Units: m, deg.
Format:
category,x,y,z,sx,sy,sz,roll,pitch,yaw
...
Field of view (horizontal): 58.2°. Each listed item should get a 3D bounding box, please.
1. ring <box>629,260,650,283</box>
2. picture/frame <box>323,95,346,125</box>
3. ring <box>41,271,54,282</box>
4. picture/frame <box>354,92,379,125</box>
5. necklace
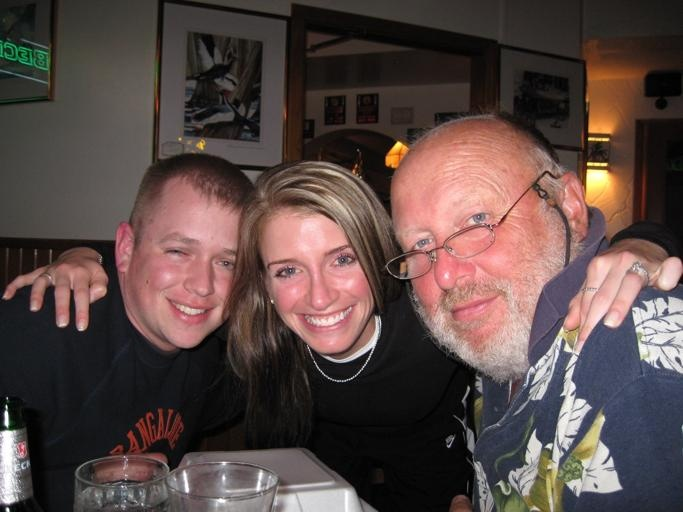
category,x,y,z,sx,sy,sz,roll,pitch,yaw
ring,0.939,0.047,1.935,0.032,0.073,0.055,-47,-17,21
picture/frame,-0.114,-2.046,8.551,0.393,0.525,0.070,-1,5,-1
ring,-1.138,0.079,2.374,0.020,0.048,0.037,-40,-7,31
picture/frame,0.351,-2.047,8.502,0.447,0.543,0.079,0,-2,6
necklace,0.060,0.399,2.737,0.244,0.344,0.085,-7,8,17
